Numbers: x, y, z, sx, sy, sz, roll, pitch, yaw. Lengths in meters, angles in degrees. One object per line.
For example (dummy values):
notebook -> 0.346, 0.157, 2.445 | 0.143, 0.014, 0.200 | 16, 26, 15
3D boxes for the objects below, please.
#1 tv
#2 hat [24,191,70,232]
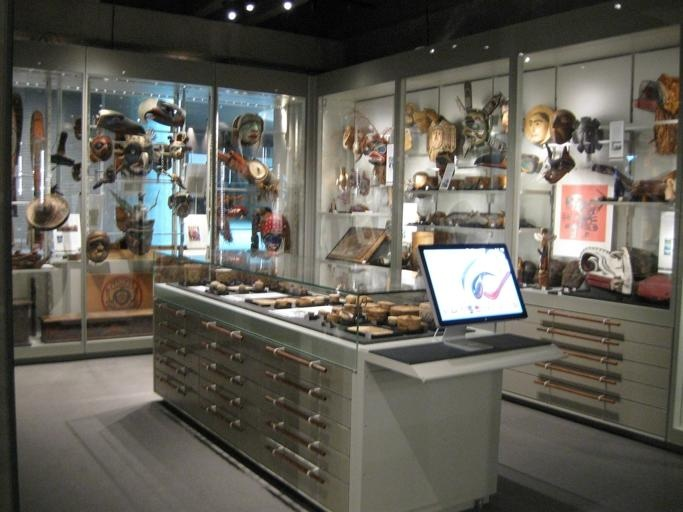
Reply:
tv -> 0.725, 0.221, 3.096 | 0.595, 0.569, 0.260 | -3, 8, -26
hat -> -3.113, -0.470, 5.797 | 0.366, 0.413, 0.119 | 1, 2, -18
